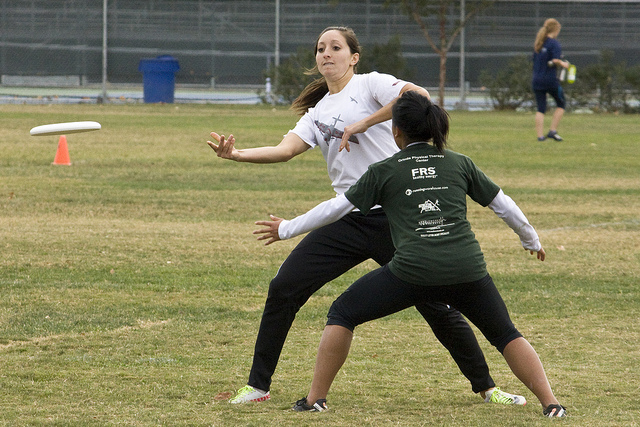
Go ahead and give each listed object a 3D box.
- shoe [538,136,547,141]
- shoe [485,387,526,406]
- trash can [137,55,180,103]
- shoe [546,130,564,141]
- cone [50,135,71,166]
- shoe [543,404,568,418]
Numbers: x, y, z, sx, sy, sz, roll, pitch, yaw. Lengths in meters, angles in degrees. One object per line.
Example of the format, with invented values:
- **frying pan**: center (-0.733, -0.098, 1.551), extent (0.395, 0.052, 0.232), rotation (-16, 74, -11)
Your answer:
- **shoe**: center (5.292, -1.773, 31.572), extent (0.138, 0.129, 0.355), rotation (-4, 1, 7)
- **shoe**: center (2.765, 2.772, 19.892), extent (0.645, 0.235, 0.216), rotation (1, -1, 3)
- **trash can**: center (-5.554, -4.582, 45.439), extent (1.794, 2.092, 1.469), rotation (-1, 3, -12)
- **shoe**: center (5.567, -1.845, 31.339), extent (0.391, 0.256, 0.631), rotation (0, 7, 8)
- **cone**: center (-5.721, -1.388, 29.151), extent (0.443, 0.649, 0.858), rotation (-2, 7, -10)
- **shoe**: center (3.465, 2.925, 19.524), extent (0.408, 0.158, 0.137), rotation (1, 1, -6)
